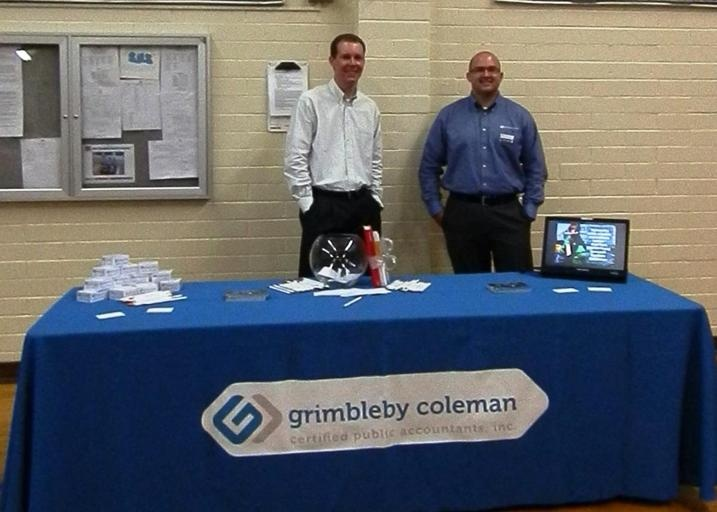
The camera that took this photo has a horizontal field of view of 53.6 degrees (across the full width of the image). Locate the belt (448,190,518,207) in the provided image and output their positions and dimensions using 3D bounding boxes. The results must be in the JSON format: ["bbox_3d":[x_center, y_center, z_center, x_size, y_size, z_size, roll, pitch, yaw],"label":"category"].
[{"bbox_3d":[0.771,-0.345,4.346,0.413,0.083,0.112,0,8,3],"label":"belt"}]

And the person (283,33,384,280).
[{"bbox_3d":[-0.141,-0.588,4.207,0.566,1.419,0.369,-1,8,0],"label":"person"}]

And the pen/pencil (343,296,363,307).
[{"bbox_3d":[-0.018,0.213,3.235,0.028,0.018,0.163,1,13,30],"label":"pen/pencil"}]

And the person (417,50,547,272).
[{"bbox_3d":[0.764,-0.566,4.384,0.779,1.361,0.269,1,8,14],"label":"person"}]

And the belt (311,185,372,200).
[{"bbox_3d":[-0.089,-0.367,4.179,0.353,0.080,0.069,-3,8,-17],"label":"belt"}]
